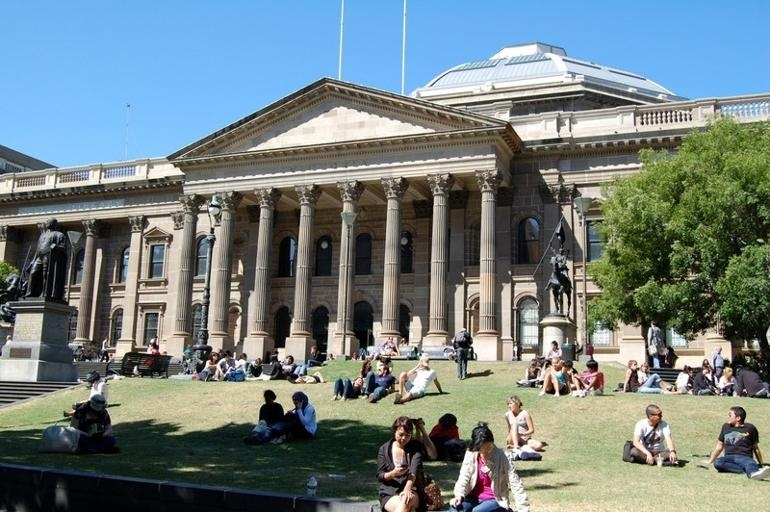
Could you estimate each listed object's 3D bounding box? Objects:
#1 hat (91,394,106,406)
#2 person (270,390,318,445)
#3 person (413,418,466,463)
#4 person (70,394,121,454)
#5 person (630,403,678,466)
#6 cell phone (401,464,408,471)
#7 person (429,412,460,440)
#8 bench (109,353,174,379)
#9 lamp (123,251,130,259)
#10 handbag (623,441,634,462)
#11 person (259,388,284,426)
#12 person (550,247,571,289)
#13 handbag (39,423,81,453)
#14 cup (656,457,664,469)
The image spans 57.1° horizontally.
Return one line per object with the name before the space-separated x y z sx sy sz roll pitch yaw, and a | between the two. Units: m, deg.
hat | -7.595 3.801 18.747 0.363 0.327 0.300 2 -9 -17
person | -2.743 4.642 20.470 0.927 1.473 1.652 -11 -22 36
person | 1.445 4.641 17.778 1.302 0.731 1.708 -1 -3 19
person | -7.735 4.446 18.911 1.111 1.311 1.077 3 -5 -10
person | 6.703 4.443 17.763 1.089 1.452 0.620 -3 -10 18
cell phone | 0.372 4.063 13.643 0.093 0.081 0.022 -16 -27 -10
person | 1.585 4.314 18.154 0.695 0.327 0.769 1 -7 14
bench | -12.147 5.354 35.196 2.076 1.166 4.009 0 -8 -3
lamp | -20.433 -0.092 56.026 0.642 0.562 0.150 10 -9 14
handbag | 6.217 4.975 18.056 0.267 0.477 0.374 16 -19 -1
person | -3.243 4.330 20.364 0.712 0.965 0.538 8 -12 -43
person | 8.415 0.531 34.123 0.714 1.934 1.209 -4 -10 19
handbag | -8.542 4.795 18.664 1.216 0.757 0.453 0 -14 5
cup | 6.782 5.053 17.448 0.206 0.210 0.204 -1 -7 0
